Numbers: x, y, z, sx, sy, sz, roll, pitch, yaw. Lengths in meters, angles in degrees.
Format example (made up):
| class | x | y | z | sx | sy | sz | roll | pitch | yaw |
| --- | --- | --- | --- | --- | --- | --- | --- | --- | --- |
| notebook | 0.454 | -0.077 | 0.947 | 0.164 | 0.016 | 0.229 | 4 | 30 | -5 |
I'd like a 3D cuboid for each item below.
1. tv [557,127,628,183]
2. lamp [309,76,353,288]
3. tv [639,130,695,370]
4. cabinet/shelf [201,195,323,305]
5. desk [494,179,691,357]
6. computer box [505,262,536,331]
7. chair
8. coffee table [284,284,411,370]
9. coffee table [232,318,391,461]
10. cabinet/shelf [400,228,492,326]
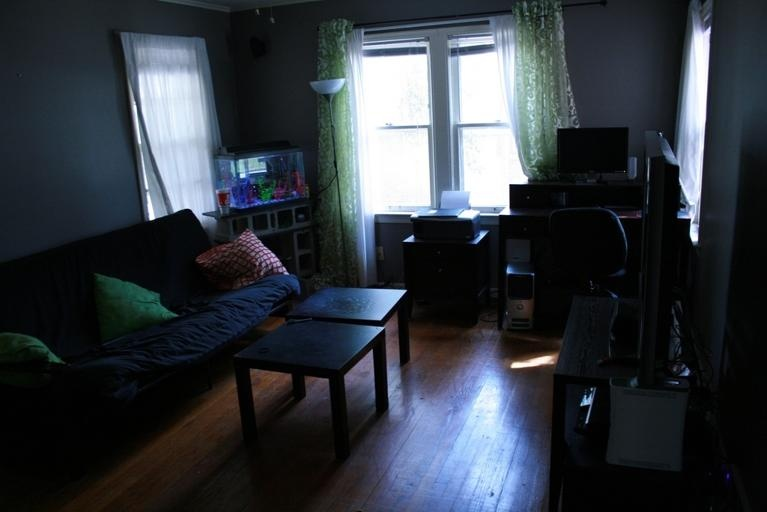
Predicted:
| class | x | y | z | sx | sy | sz | roll | pitch | yaw |
| --- | --- | --- | --- | --- | --- | --- | --- | --- | --- |
| tv | 1.757 | -0.874 | 4.782 | 0.561 | 0.431 | 0.177 | 2 | -7 | 17 |
| lamp | -0.460 | -0.717 | 5.666 | 0.320 | 2.028 | 0.395 | -4 | 13 | -3 |
| tv | 1.206 | 0.011 | 2.457 | 0.158 | 1.035 | 0.574 | 2 | 14 | 24 |
| cabinet/shelf | -1.020 | -0.100 | 5.741 | 0.814 | 0.803 | 0.346 | -7 | 17 | 12 |
| desk | 1.681 | -0.136 | 4.664 | 1.693 | 1.547 | 0.756 | -16 | -35 | 36 |
| computer box | 1.171 | 0.346 | 4.843 | 0.225 | 0.525 | 0.180 | 1 | 13 | 20 |
| chair | 1.650 | -0.024 | 4.573 | 0.632 | 1.035 | 0.733 | 1 | 8 | 26 |
| coffee table | -0.159 | 0.403 | 4.373 | 0.682 | 0.541 | 0.682 | 1 | 8 | 13 |
| coffee table | -0.452 | 0.839 | 3.873 | 0.812 | 0.697 | 0.887 | 2 | 13 | 18 |
| cabinet/shelf | 0.646 | 0.173 | 5.469 | 0.766 | 0.843 | 0.815 | 1 | 5 | 17 |
